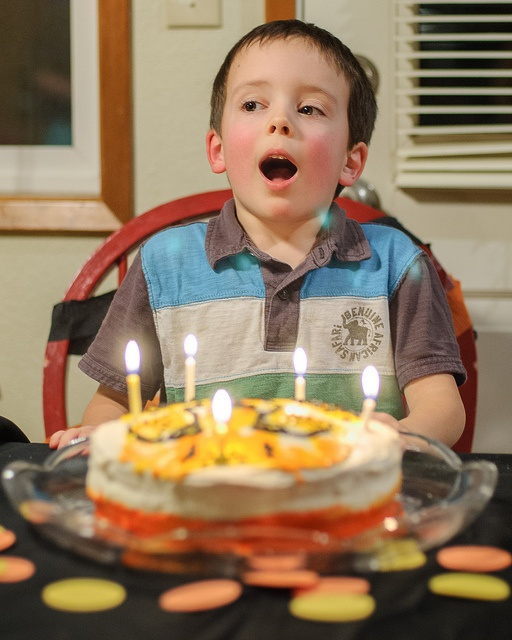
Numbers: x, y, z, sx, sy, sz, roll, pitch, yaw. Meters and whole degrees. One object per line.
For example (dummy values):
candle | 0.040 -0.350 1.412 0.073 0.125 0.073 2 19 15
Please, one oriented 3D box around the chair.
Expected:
chair | 0.013 0.015 0.990 0.432 0.438 0.355 -1 -2 3
